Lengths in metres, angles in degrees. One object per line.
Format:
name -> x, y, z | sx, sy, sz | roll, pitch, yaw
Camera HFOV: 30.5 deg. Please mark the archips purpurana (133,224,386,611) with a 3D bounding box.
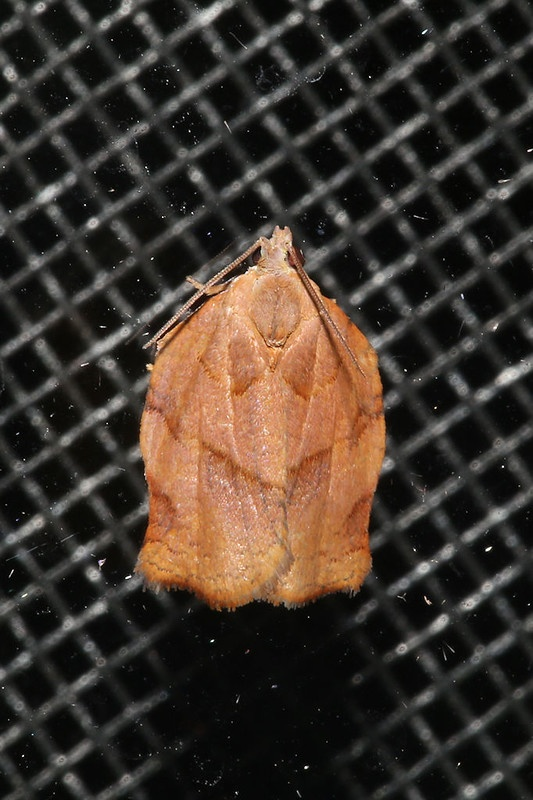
archips purpurana -> -0.010, 0.016, 1.825 | 0.476, 0.167, 0.704 | 3, 91, -3
